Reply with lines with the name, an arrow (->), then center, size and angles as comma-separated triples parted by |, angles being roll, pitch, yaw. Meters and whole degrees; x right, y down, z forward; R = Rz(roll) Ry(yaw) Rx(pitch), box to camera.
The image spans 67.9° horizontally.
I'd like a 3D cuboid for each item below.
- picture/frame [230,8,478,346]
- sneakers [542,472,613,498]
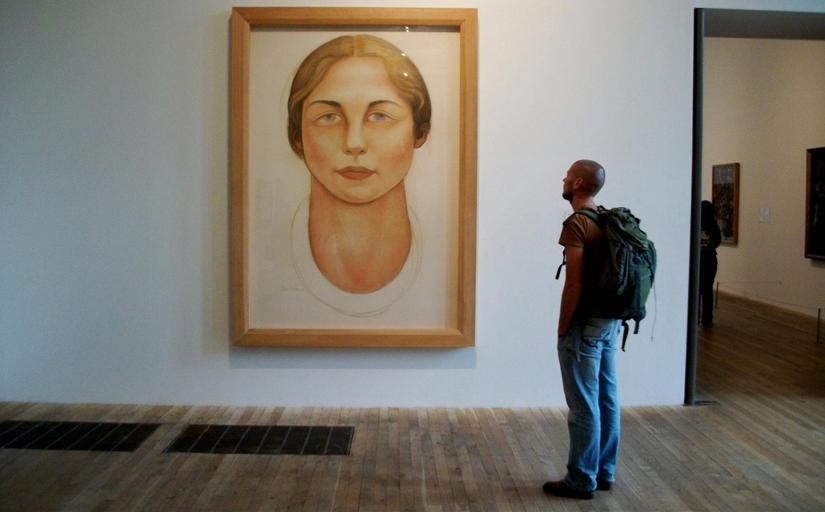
picture/frame -> -0.559, -0.891, 5.766 | 2.795, 4.191, 0.180 | 0, 0, 0
sneakers -> 1.282, 1.750, 4.784 | 0.520, 0.233, 0.206 | 2, -1, 10
